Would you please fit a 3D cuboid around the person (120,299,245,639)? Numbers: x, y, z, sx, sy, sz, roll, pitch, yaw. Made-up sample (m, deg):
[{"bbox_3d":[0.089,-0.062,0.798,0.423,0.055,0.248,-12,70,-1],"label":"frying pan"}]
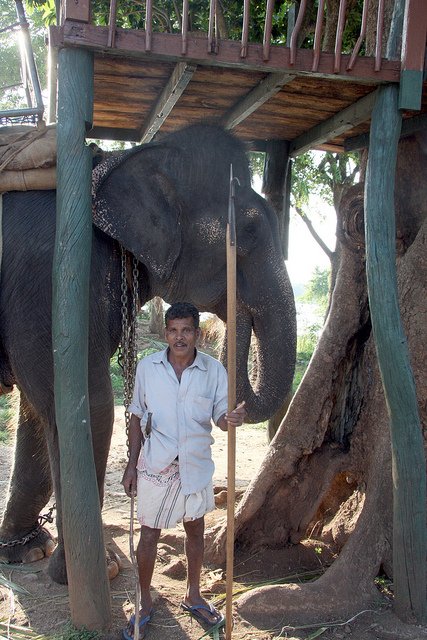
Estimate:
[{"bbox_3d":[-0.140,0.616,2.798,0.445,1.374,0.788,3,8,-3],"label":"person"}]
